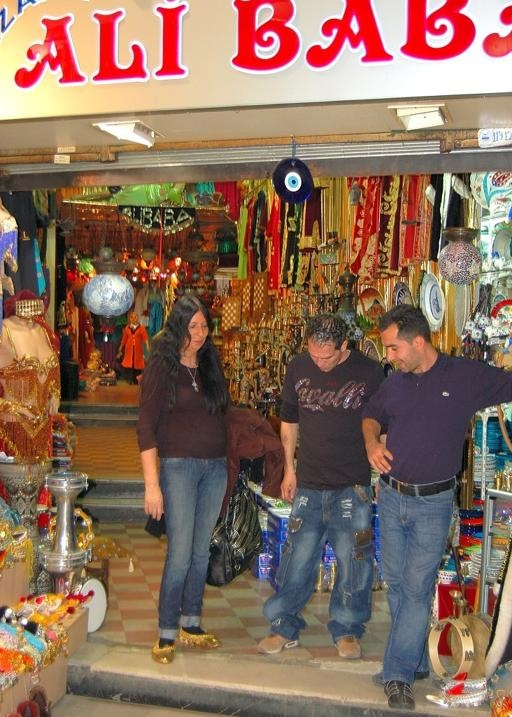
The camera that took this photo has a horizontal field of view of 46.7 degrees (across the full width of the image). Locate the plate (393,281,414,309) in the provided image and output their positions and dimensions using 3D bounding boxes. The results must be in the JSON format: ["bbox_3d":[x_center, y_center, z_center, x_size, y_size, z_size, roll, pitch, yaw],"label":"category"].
[{"bbox_3d":[1.060,-0.477,4.277,0.134,0.165,0.277,2,5,11],"label":"plate"}]

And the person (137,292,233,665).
[{"bbox_3d":[-0.306,0.529,2.548,0.265,1.593,0.523,5,6,42],"label":"person"}]

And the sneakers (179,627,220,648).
[{"bbox_3d":[-0.258,1.241,2.642,0.139,0.076,0.083,3,3,15],"label":"sneakers"}]

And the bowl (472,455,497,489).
[{"bbox_3d":[1.336,0.653,3.474,0.169,0.180,0.117,-2,-3,14],"label":"bowl"}]

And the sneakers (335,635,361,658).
[{"bbox_3d":[0.410,1.277,2.602,0.103,0.084,0.112,1,5,-1],"label":"sneakers"}]

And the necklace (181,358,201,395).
[{"bbox_3d":[-0.264,0.078,2.511,0.046,0.008,0.159,9,38,-26],"label":"necklace"}]

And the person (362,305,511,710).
[{"bbox_3d":[0.636,0.506,2.103,0.438,1.375,0.348,2,5,19],"label":"person"}]

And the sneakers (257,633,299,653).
[{"bbox_3d":[0.097,1.261,2.684,0.193,0.085,0.071,9,-2,-33],"label":"sneakers"}]
